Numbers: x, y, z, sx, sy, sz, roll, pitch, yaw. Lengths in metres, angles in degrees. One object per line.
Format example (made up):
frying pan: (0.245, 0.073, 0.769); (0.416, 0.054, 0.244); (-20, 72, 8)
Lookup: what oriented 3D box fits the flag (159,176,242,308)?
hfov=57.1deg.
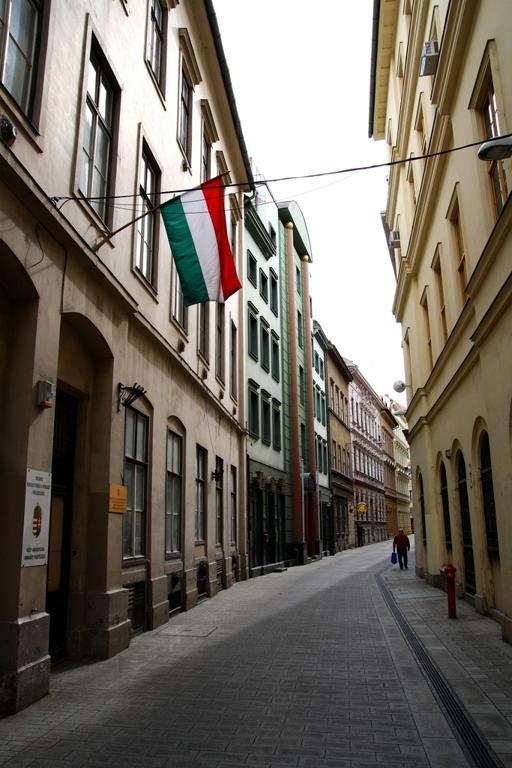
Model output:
flag: (-0.910, -2.646, 8.210); (1.052, 3.388, 0.267); (-6, -36, -14)

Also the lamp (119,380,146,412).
lamp: (-2.046, 0.190, 7.615); (0.409, 0.540, 0.325); (3, -17, -26)
